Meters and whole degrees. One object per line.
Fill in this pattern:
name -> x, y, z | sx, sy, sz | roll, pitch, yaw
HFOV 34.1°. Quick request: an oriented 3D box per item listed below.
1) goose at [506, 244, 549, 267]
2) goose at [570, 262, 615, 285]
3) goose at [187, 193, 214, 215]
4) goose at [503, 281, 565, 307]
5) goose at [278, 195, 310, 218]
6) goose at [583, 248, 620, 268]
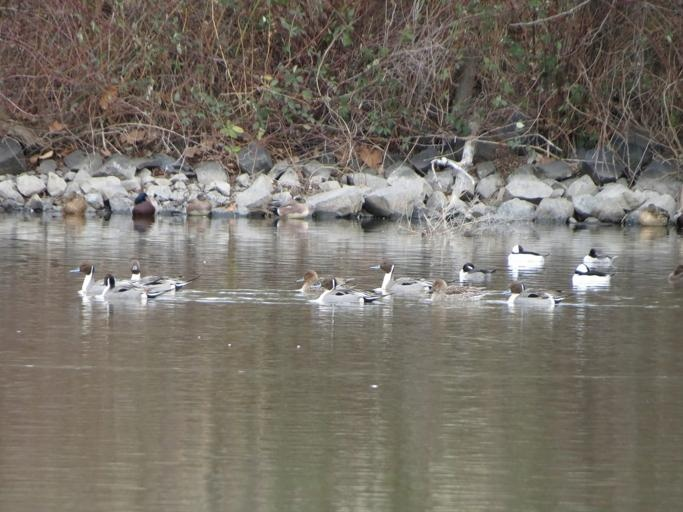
goose -> 3.363, -0.003, 20.389 | 0.706, 0.433, 0.381 | 4, 0, 18
goose -> 4.101, 0.297, 18.465 | 0.650, 0.380, 0.324 | 4, 1, 11
goose -> -3.890, -1.411, 30.408 | 0.572, 0.529, 0.757 | -7, 12, -42
goose -> 2.818, 0.565, 16.503 | 0.780, 0.398, 0.373 | 4, -3, 19
goose -> -1.271, -1.297, 29.766 | 0.723, 0.549, 1.067 | 5, 10, 22
goose -> 4.712, 0.083, 20.321 | 0.735, 0.452, 0.392 | 7, -1, -11
